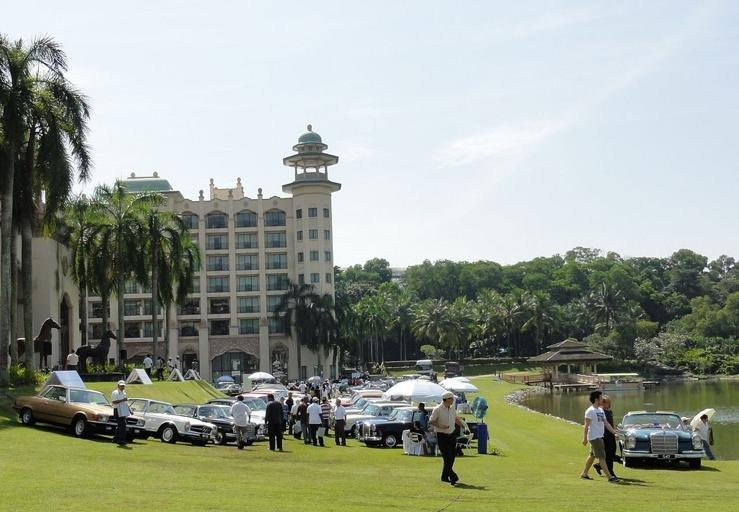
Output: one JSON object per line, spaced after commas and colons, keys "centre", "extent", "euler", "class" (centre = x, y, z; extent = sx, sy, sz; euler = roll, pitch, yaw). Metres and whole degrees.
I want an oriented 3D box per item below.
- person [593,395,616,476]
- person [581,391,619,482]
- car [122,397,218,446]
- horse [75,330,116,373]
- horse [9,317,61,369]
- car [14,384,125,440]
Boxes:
{"centre": [9.857, 7.351, 39.419], "extent": [0.912, 3.118, 1.195], "euler": [1, -13, 1], "class": "person"}
{"centre": [9.273, 7.282, 38.962], "extent": [1.200, 4.062, 1.148], "euler": [-4, -10, 19], "class": "person"}
{"centre": [-9.732, 8.145, 46.812], "extent": [4.383, 1.390, 2.011], "euler": [2, -7, 34], "class": "car"}
{"centre": [-19.283, 6.793, 67.552], "extent": [2.123, 3.076, 4.214], "euler": [4, -10, -17], "class": "horse"}
{"centre": [-23.241, 6.358, 66.851], "extent": [4.550, 3.788, 1.033], "euler": [-5, -2, 19], "class": "horse"}
{"centre": [-14.581, 7.408, 46.894], "extent": [5.745, 1.771, 2.692], "euler": [4, -6, 28], "class": "car"}
